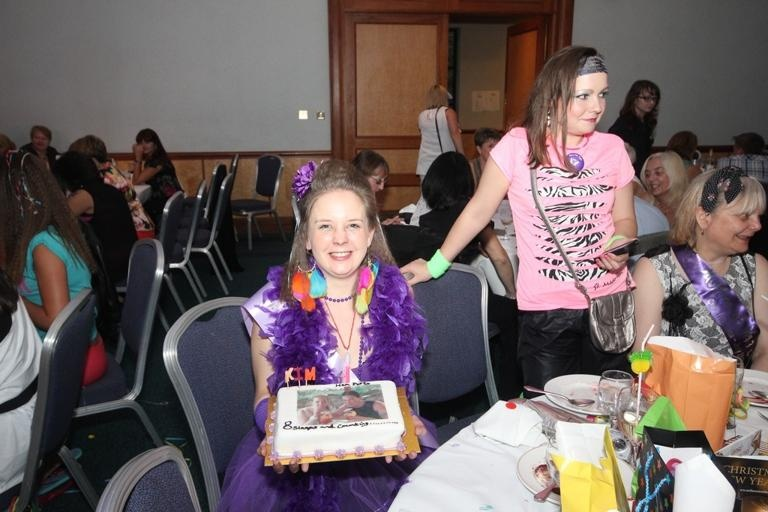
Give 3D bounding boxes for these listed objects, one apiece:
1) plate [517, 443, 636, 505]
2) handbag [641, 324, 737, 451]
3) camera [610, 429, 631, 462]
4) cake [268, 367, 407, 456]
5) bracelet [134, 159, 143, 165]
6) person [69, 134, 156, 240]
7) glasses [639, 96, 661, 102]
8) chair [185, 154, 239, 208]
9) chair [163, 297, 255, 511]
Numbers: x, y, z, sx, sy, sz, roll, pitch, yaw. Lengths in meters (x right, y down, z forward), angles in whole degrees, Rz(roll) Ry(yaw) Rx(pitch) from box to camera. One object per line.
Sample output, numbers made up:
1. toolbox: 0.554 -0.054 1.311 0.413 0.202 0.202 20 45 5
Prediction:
1. plate: 0.481 0.603 1.549 0.170 0.039 0.182 -6 16 -10
2. handbag: 0.865 0.384 1.550 0.174 0.302 0.226 -13 17 -23
3. camera: 0.695 0.559 1.611 0.048 0.074 0.025 -7 -21 -6
4. cake: -0.134 0.473 1.550 0.387 0.156 0.177 -2 11 -3
5. bracelet: -2.740 -1.049 6.097 0.077 0.058 0.074 0 6 -14
6. person: -2.069 -0.532 4.215 0.420 0.358 1.230 6 7 -16
7. glasses: 2.339 -1.392 4.831 0.202 0.068 0.057 -7 13 -25
8. chair: -1.892 -0.844 5.941 0.698 0.760 0.398 -2 15 -12
9. chair: -0.592 0.526 1.946 0.164 0.713 0.326 6 13 33
